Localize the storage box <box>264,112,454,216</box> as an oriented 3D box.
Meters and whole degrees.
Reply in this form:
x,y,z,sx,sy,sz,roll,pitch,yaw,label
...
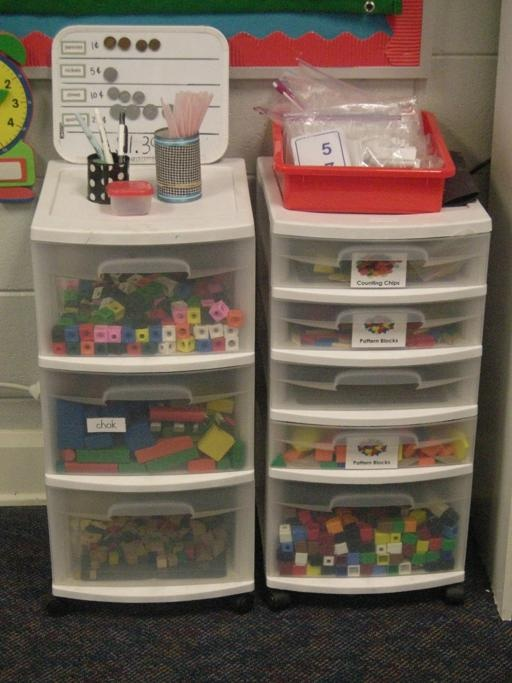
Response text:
x,y,z,sx,sy,sz,roll,pitch,yaw,label
0.189,-0.313,1.218,0.315,0.116,0.280,-1,28,2,storage box

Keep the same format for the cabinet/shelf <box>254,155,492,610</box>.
x,y,z,sx,sy,sz,roll,pitch,yaw,label
0.202,0.127,1.308,0.419,0.798,0.382,-4,32,-1,cabinet/shelf

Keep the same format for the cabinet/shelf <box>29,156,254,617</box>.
x,y,z,sx,sy,sz,roll,pitch,yaw,label
-0.195,0.111,1.317,0.416,0.784,0.465,-3,31,1,cabinet/shelf
